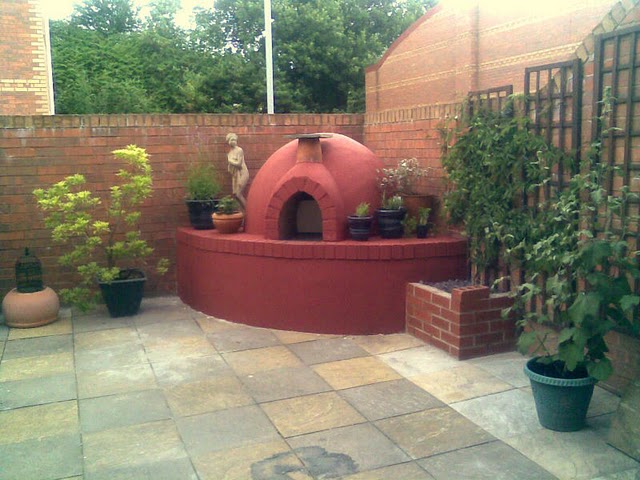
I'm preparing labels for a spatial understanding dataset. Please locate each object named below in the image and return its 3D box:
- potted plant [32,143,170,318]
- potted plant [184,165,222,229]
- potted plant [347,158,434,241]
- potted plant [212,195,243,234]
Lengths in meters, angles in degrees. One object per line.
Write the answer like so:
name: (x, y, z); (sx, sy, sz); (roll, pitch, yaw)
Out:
potted plant: (-3.990, -0.225, 9.026); (2.836, 3.502, 2.708); (-3, 9, -20)
potted plant: (-2.160, -0.794, 8.769); (0.624, 1.136, 0.819); (-3, 13, -16)
potted plant: (1.119, -0.609, 7.575); (1.288, 1.166, 0.648); (-1, -1, -6)
potted plant: (-1.588, -0.453, 8.297); (0.526, 0.598, 0.699); (-1, 12, -9)
